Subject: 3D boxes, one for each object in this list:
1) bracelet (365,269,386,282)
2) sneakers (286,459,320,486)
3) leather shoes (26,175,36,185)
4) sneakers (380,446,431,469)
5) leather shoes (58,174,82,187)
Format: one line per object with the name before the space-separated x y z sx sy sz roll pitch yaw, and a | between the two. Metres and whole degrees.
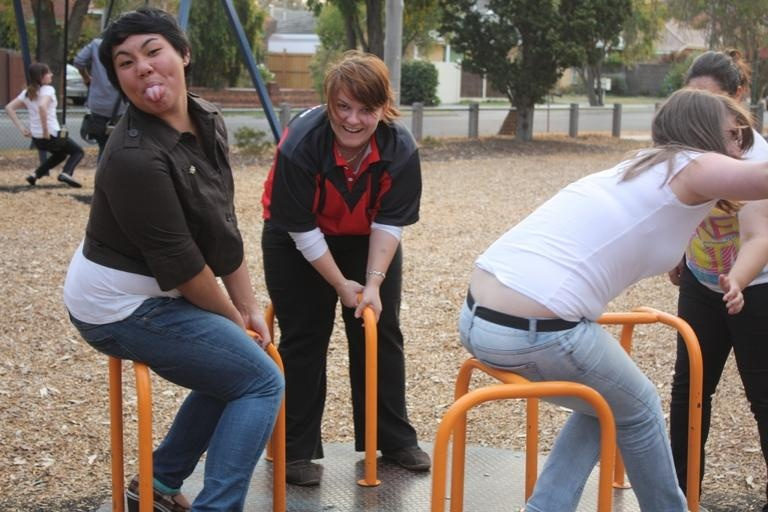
bracelet | -0.053 0.108 6.683 0.097 0.055 0.050 -1 15 -3
sneakers | -0.507 1.366 6.887 0.266 0.109 0.104 0 2 -12
leather shoes | -4.333 -0.939 13.449 0.072 0.095 0.168 -18 16 -17
sneakers | 0.131 1.277 6.974 0.288 0.120 0.138 -1 -2 31
leather shoes | -3.902 -0.941 13.560 0.104 0.114 0.292 -28 -40 22
